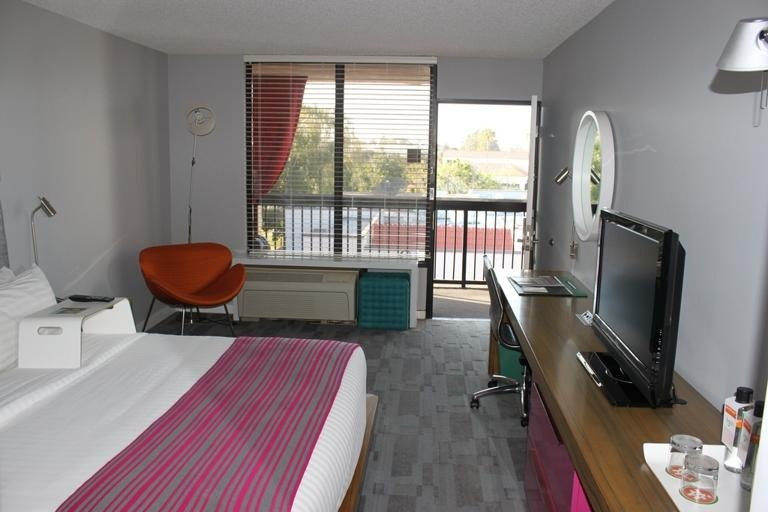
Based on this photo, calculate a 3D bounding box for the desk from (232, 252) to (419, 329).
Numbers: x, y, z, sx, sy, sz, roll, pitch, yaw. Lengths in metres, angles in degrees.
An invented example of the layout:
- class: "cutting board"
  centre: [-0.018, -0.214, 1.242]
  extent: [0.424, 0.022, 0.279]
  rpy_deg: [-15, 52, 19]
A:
- class: "desk"
  centre: [-0.655, 0.431, 5.596]
  extent: [2.003, 0.707, 0.575]
  rpy_deg: [1, 2, 5]

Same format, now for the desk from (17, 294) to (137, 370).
- class: "desk"
  centre: [-1.953, 0.470, 3.117]
  extent: [0.353, 0.265, 0.598]
  rpy_deg: [3, 7, -9]

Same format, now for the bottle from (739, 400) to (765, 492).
- class: "bottle"
  centre: [1.339, 0.695, 1.817]
  extent: [0.035, 0.341, 0.178]
  rpy_deg: [10, 15, 35]

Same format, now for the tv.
- class: "tv"
  centre: [1.297, 0.262, 2.588]
  extent: [0.395, 0.891, 1.013]
  rpy_deg: [0, 11, 9]

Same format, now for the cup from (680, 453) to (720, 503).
- class: "cup"
  centre: [1.169, 0.813, 1.887]
  extent: [0.139, 0.146, 0.151]
  rpy_deg: [0, 9, 0]

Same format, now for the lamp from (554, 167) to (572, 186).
- class: "lamp"
  centre: [1.571, -0.701, 4.366]
  extent: [0.151, 0.140, 0.039]
  rpy_deg: [-34, 68, -33]

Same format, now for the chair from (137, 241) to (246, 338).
- class: "chair"
  centre: [-1.857, 0.171, 5.012]
  extent: [0.939, 0.951, 1.072]
  rpy_deg: [3, 4, 36]

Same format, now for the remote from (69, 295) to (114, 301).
- class: "remote"
  centre: [-1.969, 0.285, 3.404]
  extent: [0.149, 0.038, 0.138]
  rpy_deg: [3, 0, -4]
